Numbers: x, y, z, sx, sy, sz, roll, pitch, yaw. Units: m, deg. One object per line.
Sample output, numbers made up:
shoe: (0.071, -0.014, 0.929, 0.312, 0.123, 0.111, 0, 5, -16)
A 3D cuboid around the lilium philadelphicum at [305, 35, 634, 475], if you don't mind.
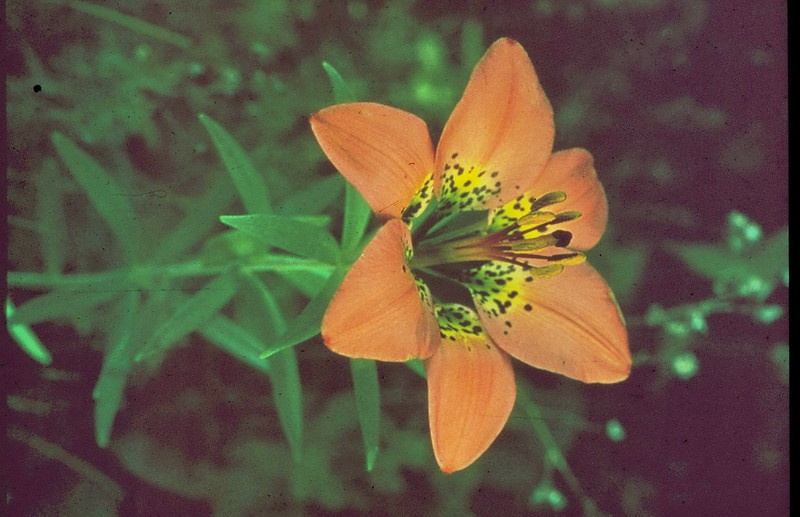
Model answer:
lilium philadelphicum: (0.165, -0.009, 1.875, 0.742, 0.391, 0.815, -26, 83, -2)
